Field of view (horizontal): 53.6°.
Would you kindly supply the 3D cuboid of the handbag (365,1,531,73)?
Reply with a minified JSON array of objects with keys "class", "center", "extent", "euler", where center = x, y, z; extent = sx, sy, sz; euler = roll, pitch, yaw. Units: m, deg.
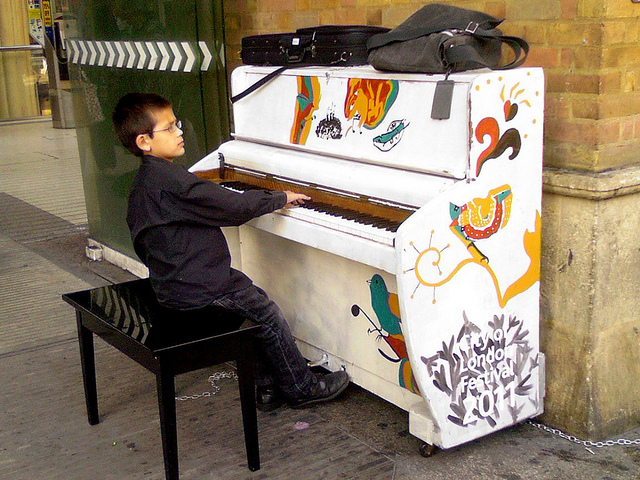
[{"class":"handbag","center":[0.549,-0.839,2.946],"extent":[0.421,0.241,0.584],"euler":[-21,21,-38]}]

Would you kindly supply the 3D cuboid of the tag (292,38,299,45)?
[{"class":"tag","center":[-0.139,-1.078,3.442],"extent":[0.013,0.032,0.049],"euler":[-24,28,-39]}]

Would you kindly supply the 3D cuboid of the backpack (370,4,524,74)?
[{"class":"backpack","center":[0.570,-0.902,2.877],"extent":[0.548,0.220,0.385],"euler":[-9,18,-14]}]

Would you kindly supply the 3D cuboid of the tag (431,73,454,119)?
[{"class":"tag","center":[0.526,-0.615,2.723],"extent":[0.089,0.181,0.021],"euler":[9,4,37]}]

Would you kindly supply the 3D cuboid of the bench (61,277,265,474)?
[{"class":"bench","center":[-0.750,0.681,3.075],"extent":[0.376,0.523,0.733],"euler":[-17,25,-39]}]

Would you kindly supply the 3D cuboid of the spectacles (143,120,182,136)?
[{"class":"spectacles","center":[-0.756,-0.526,3.022],"extent":[0.056,0.038,0.196],"euler":[13,27,39]}]

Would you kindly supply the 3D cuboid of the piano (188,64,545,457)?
[{"class":"piano","center":[0.264,0.144,3.023],"extent":[0.927,1.664,1.727],"euler":[-8,13,-38]}]
